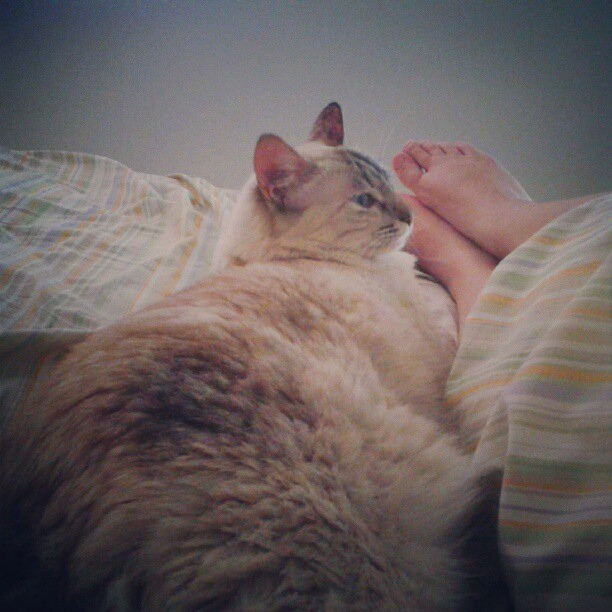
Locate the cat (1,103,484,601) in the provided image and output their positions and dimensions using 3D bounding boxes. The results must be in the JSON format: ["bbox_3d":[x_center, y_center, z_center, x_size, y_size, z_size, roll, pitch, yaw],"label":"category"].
[{"bbox_3d":[-0.063,0.066,1.094,0.589,0.508,0.619,17,23,-8],"label":"cat"}]
